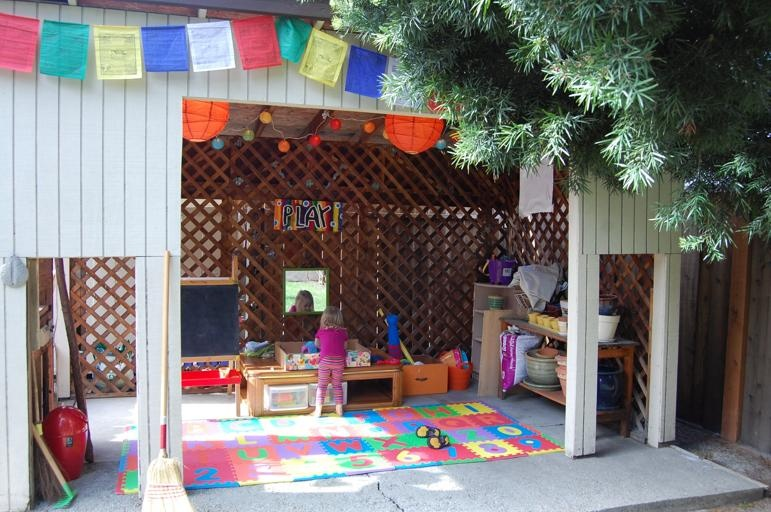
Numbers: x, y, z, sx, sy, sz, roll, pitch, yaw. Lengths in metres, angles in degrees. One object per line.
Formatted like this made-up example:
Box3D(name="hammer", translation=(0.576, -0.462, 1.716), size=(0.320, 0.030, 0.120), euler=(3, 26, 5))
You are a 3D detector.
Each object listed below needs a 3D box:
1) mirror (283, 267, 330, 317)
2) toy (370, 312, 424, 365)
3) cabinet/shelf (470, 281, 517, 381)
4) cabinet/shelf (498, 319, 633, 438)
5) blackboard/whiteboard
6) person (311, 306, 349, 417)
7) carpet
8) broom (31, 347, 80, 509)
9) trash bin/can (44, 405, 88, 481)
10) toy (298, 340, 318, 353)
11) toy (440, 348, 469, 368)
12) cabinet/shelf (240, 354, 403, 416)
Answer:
Box3D(name="mirror", translation=(-0.764, 0.338, 5.972), size=(0.451, 0.439, 0.030), euler=(-1, 2, -12))
Box3D(name="toy", translation=(0.083, 0.763, 5.738), size=(0.390, 0.481, 0.351), euler=(-1, 9, -17))
Box3D(name="cabinet/shelf", translation=(0.986, 0.694, 5.753), size=(0.297, 0.863, 0.908), euler=(1, 1, -2))
Box3D(name="cabinet/shelf", translation=(1.517, 0.943, 4.830), size=(0.505, 0.667, 1.234), euler=(2, 2, -16))
Box3D(name="blackboard/whiteboard", translation=(-1.463, 0.515, 5.330), size=(0.590, 0.665, 0.157), euler=(-1, -6, -18))
Box3D(name="person", translation=(-0.454, 0.854, 5.180), size=(0.279, 0.851, 0.291), euler=(1, -3, -23))
Box3D(name="carpet", translation=(-0.189, 1.276, 4.562), size=(2.432, 0.121, 1.155), euler=(-1, 8, -14))
Box3D(name="broom", translation=(-1.990, 0.989, 3.782), size=(0.205, 0.825, 0.624), euler=(-4, 9, -28))
Box3D(name="trash bin/can", translation=(-1.917, 1.109, 3.872), size=(0.216, 0.462, 0.212), euler=(2, 14, -13))
Box3D(name="toy", translation=(-0.624, 0.761, 5.269), size=(0.103, 0.063, 0.128), euler=(16, -4, -4))
Box3D(name="toy", translation=(0.668, 0.936, 5.857), size=(0.151, 0.065, 0.210), euler=(-1, 2, 25))
Box3D(name="cabinet/shelf", translation=(-0.587, 1.046, 5.134), size=(1.226, 0.406, 0.706), euler=(2, 5, -18))
